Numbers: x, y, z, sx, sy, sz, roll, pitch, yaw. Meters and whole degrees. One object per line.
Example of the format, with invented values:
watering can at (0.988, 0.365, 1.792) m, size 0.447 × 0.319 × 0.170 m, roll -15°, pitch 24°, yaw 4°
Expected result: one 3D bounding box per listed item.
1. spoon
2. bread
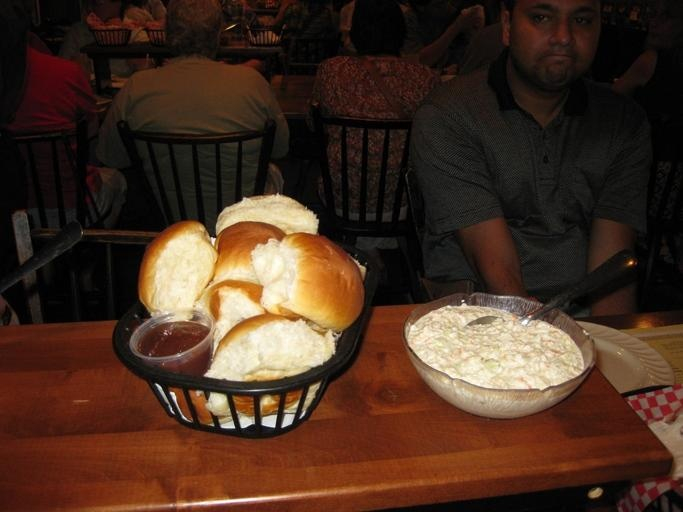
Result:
spoon at (0.531, 0.098, 1.327) m, size 0.406 × 0.060 × 0.091 m, roll -34°, pitch 36°, yaw 31°
bread at (-0.164, 0.082, 1.025) m, size 0.379 × 0.217 × 0.447 m, roll 0°, pitch 47°, yaw -2°
